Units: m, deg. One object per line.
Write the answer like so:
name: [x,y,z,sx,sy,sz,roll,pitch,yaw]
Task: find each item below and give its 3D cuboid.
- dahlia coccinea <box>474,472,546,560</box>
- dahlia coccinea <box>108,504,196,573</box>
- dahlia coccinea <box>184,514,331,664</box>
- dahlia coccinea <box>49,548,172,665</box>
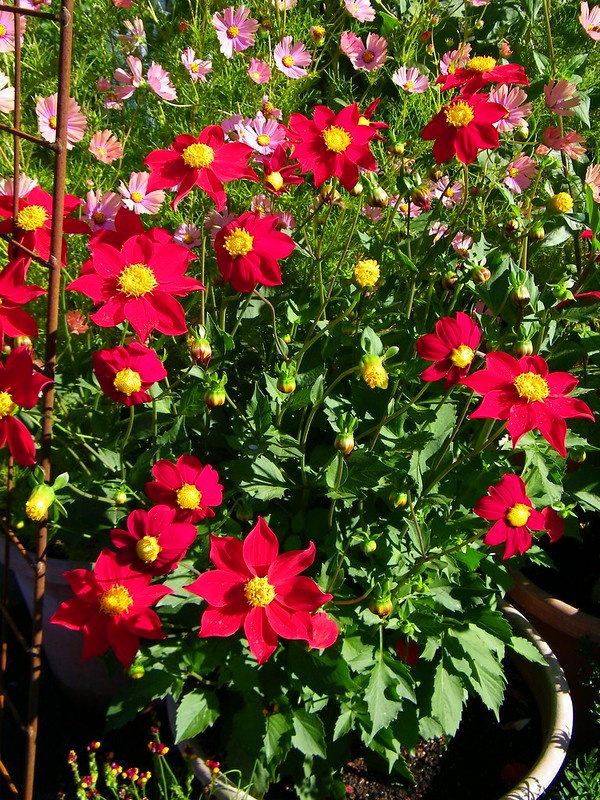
dahlia coccinea: [0.254,0.142,0.782,0.048,0.104,0.114,6,1,40]
dahlia coccinea: [-0.160,0.157,0.695,0.088,0.078,0.025,0,-41,3]
dahlia coccinea: [-0.039,0.191,0.645,0.150,0.131,0.039,26,-50,-33]
dahlia coccinea: [-0.202,0.223,0.697,0.117,0.121,0.073,6,0,-10]
